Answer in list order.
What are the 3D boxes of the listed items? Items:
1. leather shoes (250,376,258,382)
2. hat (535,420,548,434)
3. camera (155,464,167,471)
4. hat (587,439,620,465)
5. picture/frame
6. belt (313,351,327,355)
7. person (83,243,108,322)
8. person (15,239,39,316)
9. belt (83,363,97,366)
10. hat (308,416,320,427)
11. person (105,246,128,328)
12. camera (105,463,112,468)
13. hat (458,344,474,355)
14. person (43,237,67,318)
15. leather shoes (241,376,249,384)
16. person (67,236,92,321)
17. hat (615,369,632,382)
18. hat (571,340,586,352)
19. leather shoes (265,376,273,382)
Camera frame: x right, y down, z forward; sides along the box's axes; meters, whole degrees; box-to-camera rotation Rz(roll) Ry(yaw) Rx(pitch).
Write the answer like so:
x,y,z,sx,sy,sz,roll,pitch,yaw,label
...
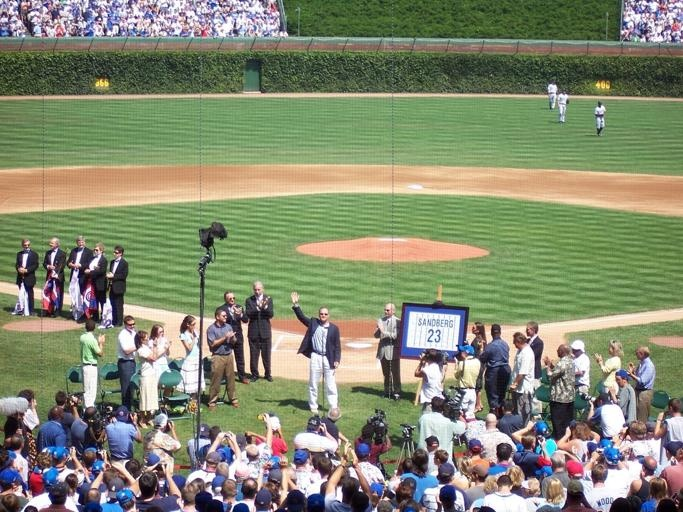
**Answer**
x,y,z,sx,sy,sz,roll,pitch,yaw,label
-3.467,4.907,69.618,0.143,0.222,0.229,5,-17,-23,leather shoes
7.333,6.406,65.174,0.388,0.377,0.486,0,-4,-17,hat
-6.545,7.643,63.710,0.385,0.277,0.151,0,-2,17,camera
9.502,7.084,63.973,0.676,0.534,1.076,1,23,-32,hat
3.545,3.027,68.428,2.818,2.322,0.187,5,0,-5,picture/frame
-0.841,3.797,67.945,0.518,0.174,0.095,1,-2,0,belt
-10.136,1.149,72.378,0.708,3.112,0.969,1,16,-21,person
-13.064,0.951,72.992,1.019,3.099,0.939,1,1,3,person
-9.676,4.193,67.737,0.483,0.132,0.117,1,-2,-18,belt
-1.037,6.126,64.979,0.414,0.351,0.397,1,-2,-2,hat
-9.299,1.236,72.248,0.917,3.033,1.086,-11,20,-43,person
-8.466,7.613,63.776,0.162,0.042,0.161,-14,23,-38,camera
4.796,3.643,67.741,0.599,0.355,0.293,1,-2,-10,hat
-11.901,0.970,73.153,1.034,3.282,1.243,-2,15,-18,person
-3.793,4.934,69.368,0.316,0.258,0.153,1,-2,-5,leather shoes
-10.795,1.000,72.760,0.969,3.429,0.895,-3,15,-16,person
10.639,4.609,66.724,0.519,0.400,0.380,9,27,12,hat
9.115,3.497,67.526,0.583,0.332,0.433,8,3,-37,hat
-2.869,4.892,69.520,0.303,0.205,0.167,1,-2,1,leather shoes
